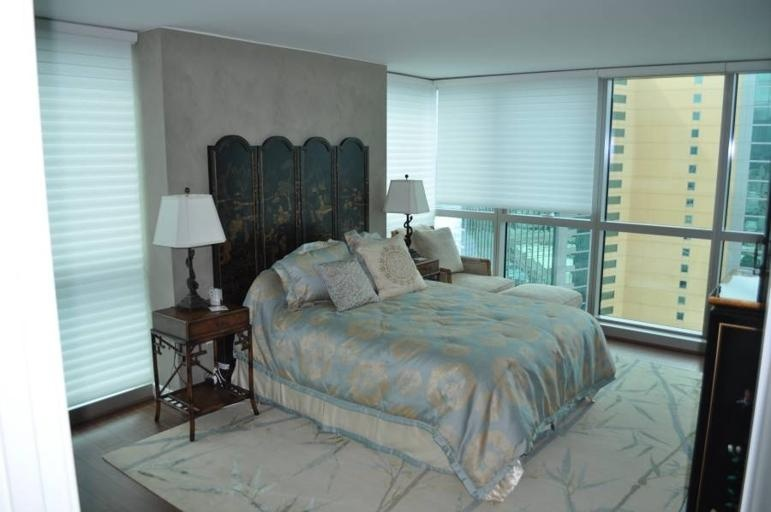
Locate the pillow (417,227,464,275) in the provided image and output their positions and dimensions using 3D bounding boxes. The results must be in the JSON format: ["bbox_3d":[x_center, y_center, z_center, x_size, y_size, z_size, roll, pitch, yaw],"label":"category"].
[{"bbox_3d":[0.650,-0.054,6.316,0.301,0.518,0.627,-9,1,43],"label":"pillow"}]

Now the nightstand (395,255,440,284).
[{"bbox_3d":[0.437,0.079,5.947,0.259,0.295,0.439,6,12,32],"label":"nightstand"}]

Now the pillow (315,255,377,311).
[{"bbox_3d":[-0.359,0.241,4.512,0.485,0.427,0.146,-6,-24,-43],"label":"pillow"}]

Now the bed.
[{"bbox_3d":[0.120,0.797,4.097,2.158,0.831,1.839,9,17,37],"label":"bed"}]

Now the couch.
[{"bbox_3d":[1.341,0.195,6.436,2.027,1.211,1.093,12,23,36],"label":"couch"}]

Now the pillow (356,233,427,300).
[{"bbox_3d":[0.057,0.090,5.021,0.661,0.610,0.192,-13,-5,-46],"label":"pillow"}]

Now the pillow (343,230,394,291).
[{"bbox_3d":[-0.308,0.016,5.038,0.172,0.543,0.584,-29,-16,25],"label":"pillow"}]
